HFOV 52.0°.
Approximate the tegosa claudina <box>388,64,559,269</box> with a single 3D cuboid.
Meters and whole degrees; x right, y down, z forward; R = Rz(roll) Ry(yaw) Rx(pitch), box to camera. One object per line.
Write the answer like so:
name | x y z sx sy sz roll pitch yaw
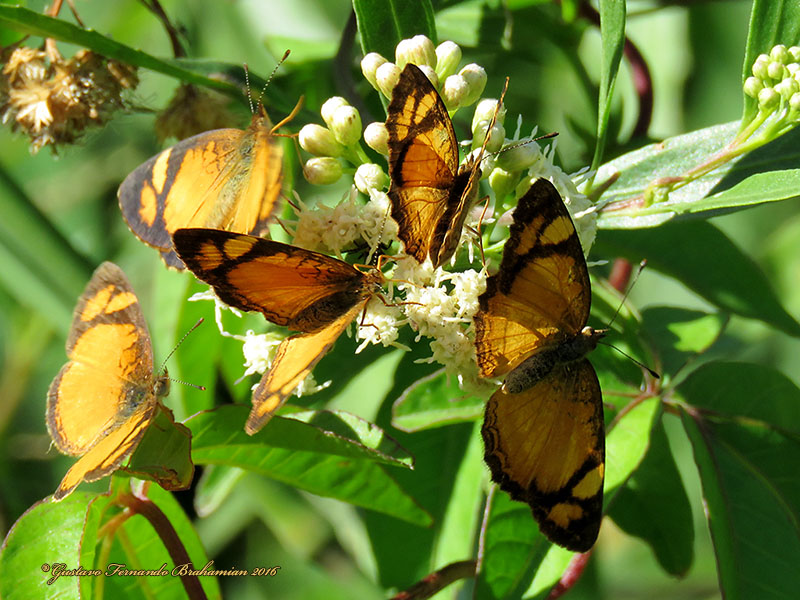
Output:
tegosa claudina | 0.127 -0.354 2.186 0.471 0.497 0.271 5 10 -35
